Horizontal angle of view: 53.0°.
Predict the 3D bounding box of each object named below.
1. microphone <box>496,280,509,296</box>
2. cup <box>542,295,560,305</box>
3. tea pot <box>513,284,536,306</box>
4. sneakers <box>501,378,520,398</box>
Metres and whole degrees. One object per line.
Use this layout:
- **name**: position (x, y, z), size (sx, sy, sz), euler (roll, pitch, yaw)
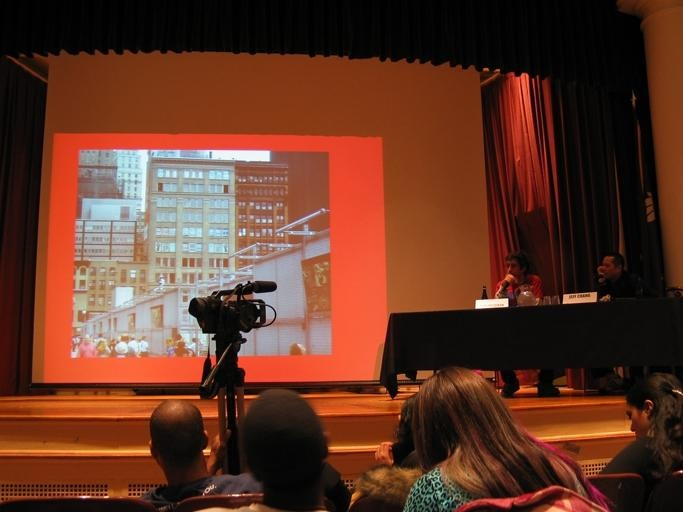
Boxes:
- **microphone**: position (1.348, 0.292, 5.880), size (0.068, 0.119, 0.136), euler (22, -3, -11)
- **cup**: position (1.657, 0.358, 5.448), size (0.143, 0.112, 0.148), euler (1, -4, 0)
- **tea pot**: position (1.453, 0.319, 5.350), size (0.188, 0.196, 0.195), euler (-1, -5, 0)
- **sneakers**: position (1.373, 1.089, 5.545), size (0.076, 0.102, 0.233), euler (-12, -25, 28)
